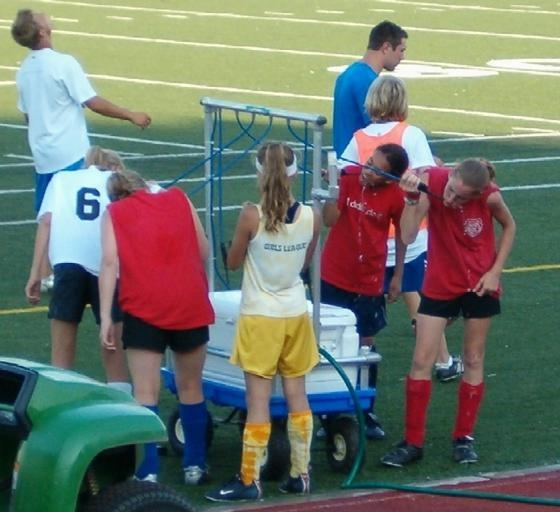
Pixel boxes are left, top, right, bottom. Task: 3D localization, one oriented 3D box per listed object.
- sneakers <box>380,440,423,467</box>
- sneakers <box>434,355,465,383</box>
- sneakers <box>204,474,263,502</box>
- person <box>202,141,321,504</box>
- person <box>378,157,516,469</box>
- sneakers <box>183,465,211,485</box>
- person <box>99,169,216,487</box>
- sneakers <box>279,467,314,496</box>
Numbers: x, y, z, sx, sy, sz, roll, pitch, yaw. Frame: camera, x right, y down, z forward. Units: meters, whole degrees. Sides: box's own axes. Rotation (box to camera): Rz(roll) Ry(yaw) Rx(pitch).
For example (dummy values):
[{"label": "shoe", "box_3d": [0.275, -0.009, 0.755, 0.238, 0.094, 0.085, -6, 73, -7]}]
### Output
[{"label": "sneakers", "box_3d": [0.762, 1.242, 7.481, 0.296, 0.135, 0.113, -6, 4, -32]}, {"label": "sneakers", "box_3d": [1.256, 0.852, 8.847, 0.104, 0.150, 0.323, 1, 7, 36]}, {"label": "sneakers", "box_3d": [-0.244, 1.343, 6.900, 0.346, 0.164, 0.127, 2, -8, 6]}, {"label": "person", "box_3d": [-0.078, 0.393, 6.900, 0.615, 1.971, 0.740, 1, 16, 2]}, {"label": "person", "box_3d": [1.071, 0.325, 7.478, 0.775, 1.890, 0.687, 0, 16, -2]}, {"label": "sneakers", "box_3d": [-0.500, 1.310, 7.152, 0.066, 0.086, 0.197, 1, 3, 7]}, {"label": "person", "box_3d": [-0.709, 0.456, 7.008, 0.650, 1.789, 0.538, -2, 17, -9]}, {"label": "sneakers", "box_3d": [0.097, 1.331, 6.966, 0.083, 0.108, 0.236, 4, -3, -23]}]
